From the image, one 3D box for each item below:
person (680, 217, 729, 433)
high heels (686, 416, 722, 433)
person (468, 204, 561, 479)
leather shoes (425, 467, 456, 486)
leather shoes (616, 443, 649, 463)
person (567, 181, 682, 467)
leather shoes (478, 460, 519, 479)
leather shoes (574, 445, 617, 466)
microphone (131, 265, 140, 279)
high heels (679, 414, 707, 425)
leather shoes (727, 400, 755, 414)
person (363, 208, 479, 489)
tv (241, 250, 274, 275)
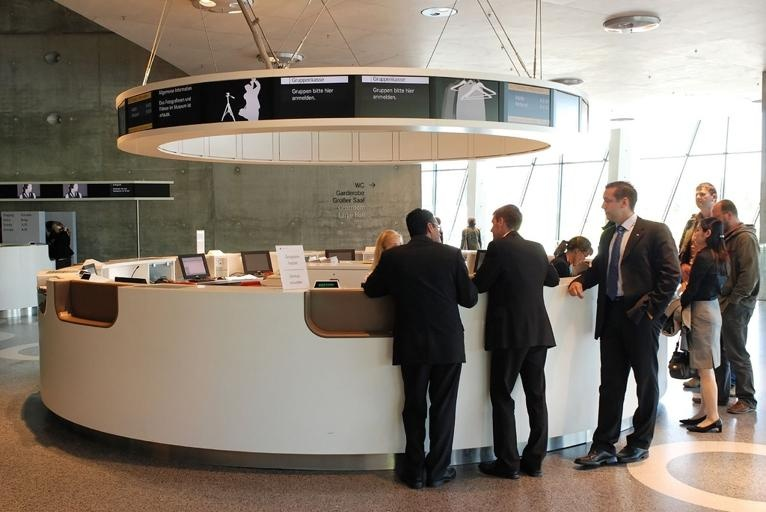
[{"bbox_3d":[3.123,0.652,6.330,0.416,2.053,0.460,0,7,2],"label":"person"},{"bbox_3d":[3.117,1.638,6.288,0.283,0.115,0.149,1,-9,17],"label":"high heels"},{"bbox_3d":[1.120,0.726,5.590,0.682,2.312,0.420,2,7,14],"label":"person"},{"bbox_3d":[0.491,1.861,5.521,0.102,0.109,0.276,-1,0,43],"label":"leather shoes"},{"bbox_3d":[2.217,1.741,5.737,0.319,0.126,0.129,11,-22,-29],"label":"leather shoes"},{"bbox_3d":[2.143,0.588,5.731,0.813,2.482,0.535,2,7,13],"label":"person"},{"bbox_3d":[0.984,1.846,5.635,0.334,0.138,0.123,6,-4,33],"label":"leather shoes"},{"bbox_3d":[1.860,1.776,5.747,0.369,0.149,0.155,4,-16,-14],"label":"leather shoes"},{"bbox_3d":[-3.400,0.217,8.967,0.043,0.154,0.153,19,23,-25],"label":"microphone"},{"bbox_3d":[3.053,1.615,6.391,0.261,0.106,0.086,1,-11,8],"label":"high heels"},{"bbox_3d":[3.665,1.570,6.707,0.328,0.122,0.118,10,-22,-21],"label":"leather shoes"},{"bbox_3d":[0.344,0.770,5.444,0.864,2.316,0.369,1,7,7],"label":"person"},{"bbox_3d":[-1.943,0.103,9.984,0.365,0.301,0.141,0,-7,-37],"label":"tv"}]
